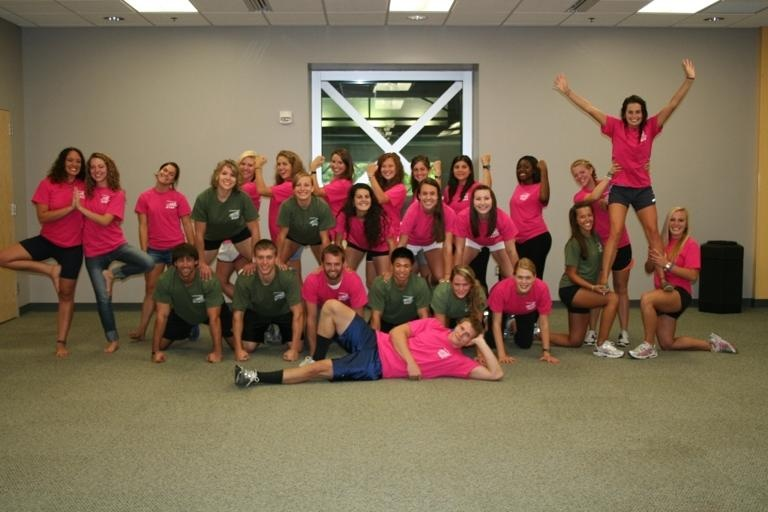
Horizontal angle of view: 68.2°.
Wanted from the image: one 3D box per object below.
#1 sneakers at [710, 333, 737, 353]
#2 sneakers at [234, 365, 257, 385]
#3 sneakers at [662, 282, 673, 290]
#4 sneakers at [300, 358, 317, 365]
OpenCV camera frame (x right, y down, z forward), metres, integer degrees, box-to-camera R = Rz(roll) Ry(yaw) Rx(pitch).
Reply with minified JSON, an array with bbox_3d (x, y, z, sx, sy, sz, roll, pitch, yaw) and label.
[{"bbox_3d":[3.492,0.908,5.921,0.283,0.120,0.126,9,-30,19],"label":"sneakers"},{"bbox_3d":[-1.198,1.052,4.982,0.201,0.174,0.101,5,-2,-11],"label":"sneakers"},{"bbox_3d":[2.917,0.301,5.847,0.114,0.066,0.093,-9,14,-40],"label":"sneakers"},{"bbox_3d":[-0.714,0.982,5.320,0.152,0.058,0.107,-2,-2,17],"label":"sneakers"}]
